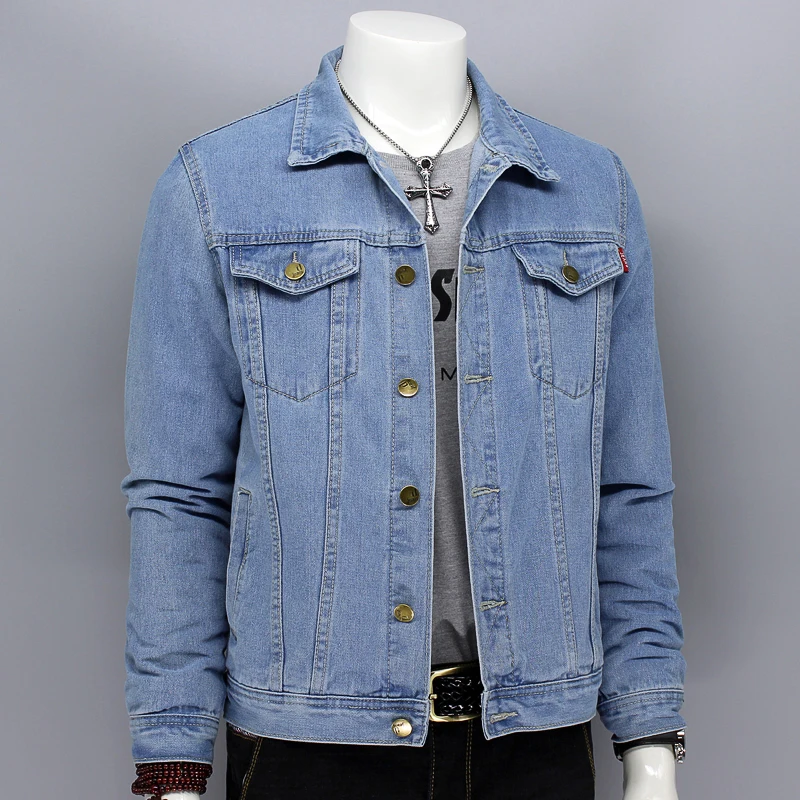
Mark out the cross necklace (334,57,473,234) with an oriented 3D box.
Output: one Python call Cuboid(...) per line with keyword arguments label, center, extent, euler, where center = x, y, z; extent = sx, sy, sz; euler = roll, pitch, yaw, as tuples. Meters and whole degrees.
Cuboid(label="cross necklace", center=(0.038, -0.386, 2.381), extent=(0.192, 0.296, 0.026), euler=(-5, -25, -13))
